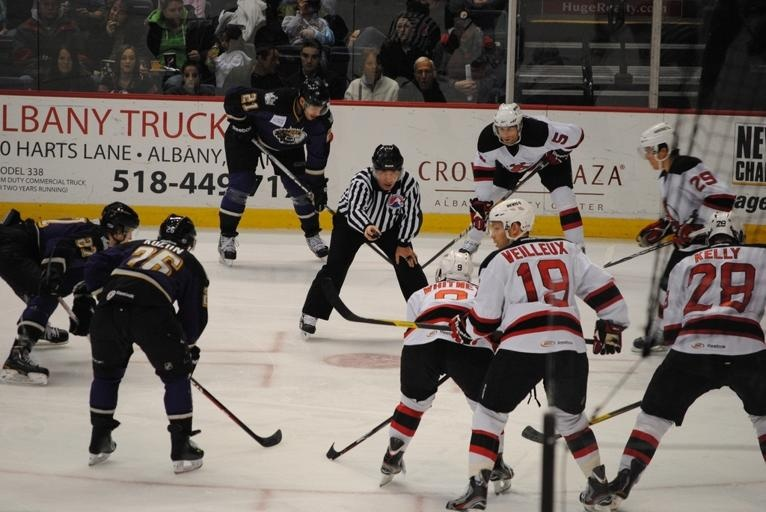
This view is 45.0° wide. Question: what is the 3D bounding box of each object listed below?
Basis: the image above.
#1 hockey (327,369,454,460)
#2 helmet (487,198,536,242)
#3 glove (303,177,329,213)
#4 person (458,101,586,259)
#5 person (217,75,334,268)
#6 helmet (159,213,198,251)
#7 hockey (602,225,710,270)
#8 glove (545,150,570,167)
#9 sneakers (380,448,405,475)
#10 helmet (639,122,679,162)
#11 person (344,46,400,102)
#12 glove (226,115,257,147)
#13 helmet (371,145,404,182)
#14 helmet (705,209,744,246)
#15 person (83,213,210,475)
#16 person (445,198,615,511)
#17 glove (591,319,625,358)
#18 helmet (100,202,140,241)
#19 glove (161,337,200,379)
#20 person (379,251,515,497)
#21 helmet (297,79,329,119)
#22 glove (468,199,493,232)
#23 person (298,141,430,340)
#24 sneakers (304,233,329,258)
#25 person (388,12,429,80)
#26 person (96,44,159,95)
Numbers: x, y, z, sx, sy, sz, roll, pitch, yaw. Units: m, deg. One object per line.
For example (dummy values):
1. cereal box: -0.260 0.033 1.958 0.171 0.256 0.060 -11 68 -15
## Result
1. hockey: 0.045 1.009 5.730 0.832 0.097 0.115 -37 21 15
2. helmet: 0.691 -0.196 5.183 0.309 0.247 0.231 -2 9 -27
3. glove: -0.647 -0.609 9.129 0.143 0.328 0.259 -3 4 39
4. person: 1.189 -0.643 8.431 1.276 1.648 1.022 -7 31 10
5. person: -1.020 -0.905 9.120 1.241 1.815 1.113 10 15 10
6. helmet: -1.230 -0.168 5.567 0.194 0.214 0.225 10 40 10
7. hockey: 2.293 -0.061 7.841 1.155 0.095 0.160 -20 16 30
8. glove: 1.532 -0.876 8.186 0.144 0.061 0.166 7 -23 -17
9. sneakers: 0.026 1.166 5.280 0.173 0.148 0.122 4 12 -6
10. helmet: 2.131 -0.914 7.235 0.344 0.291 0.247 -11 21 1
11. person: -0.099 -2.084 10.779 0.791 0.608 0.347 6 12 17
12. glove: -1.384 -1.207 8.905 0.283 0.250 0.180 3 9 3
13. helmet: 0.033 -0.719 7.180 0.307 0.310 0.351 1 4 1
14. helmet: 2.015 -0.146 5.462 0.190 0.225 0.230 2 36 13
15. person: -1.408 0.573 5.417 0.725 1.317 0.457 2 10 -6
16. person: 0.821 0.654 4.993 0.951 1.486 0.397 3 10 4
17. glove: 1.224 0.441 5.101 0.202 0.178 0.076 6 19 8
18. helmet: -1.703 -0.200 5.939 0.266 0.242 0.211 17 1 -29
19. glove: -1.180 0.584 5.440 0.145 0.208 0.352 3 9 3
20. person: 0.454 0.618 5.474 0.873 1.268 0.806 3 -12 -4
21. helmet: -0.643 -1.443 8.485 0.247 0.362 0.342 2 9 -5
22. glove: 0.881 -0.432 8.538 0.264 0.219 0.187 6 4 -12
23. person: -0.048 -0.109 7.271 1.212 1.479 1.079 -1 13 -21
24. sneakers: -0.701 -0.099 9.437 0.284 0.099 0.117 51 11 14
25. person: 0.240 -2.412 10.641 0.459 0.735 0.124 1 10 -8
26. person: -3.020 -2.179 10.843 0.837 0.496 0.343 1 10 -21
